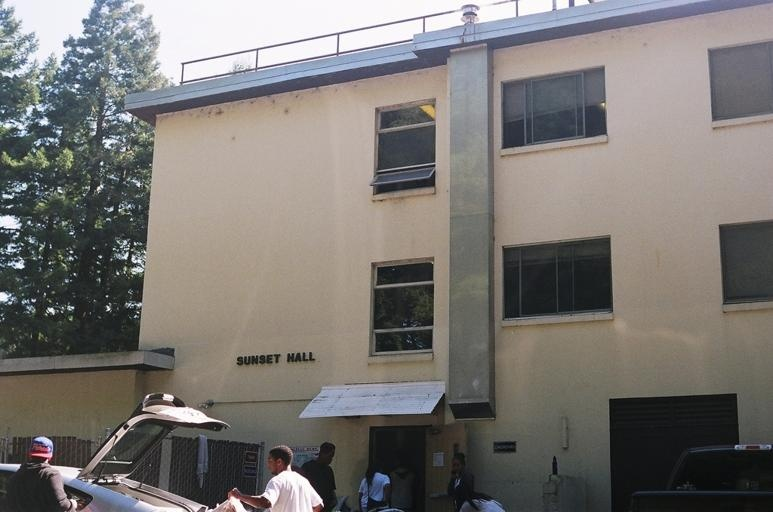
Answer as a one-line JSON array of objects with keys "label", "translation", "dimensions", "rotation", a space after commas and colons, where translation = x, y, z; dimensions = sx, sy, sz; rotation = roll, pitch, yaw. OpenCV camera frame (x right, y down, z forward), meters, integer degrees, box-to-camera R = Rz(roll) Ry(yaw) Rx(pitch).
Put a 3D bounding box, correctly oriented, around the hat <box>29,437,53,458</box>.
[{"label": "hat", "translation": [-6.256, 3.497, 18.541], "dimensions": [0.319, 0.286, 0.488], "rotation": [9, -8, -14]}]
